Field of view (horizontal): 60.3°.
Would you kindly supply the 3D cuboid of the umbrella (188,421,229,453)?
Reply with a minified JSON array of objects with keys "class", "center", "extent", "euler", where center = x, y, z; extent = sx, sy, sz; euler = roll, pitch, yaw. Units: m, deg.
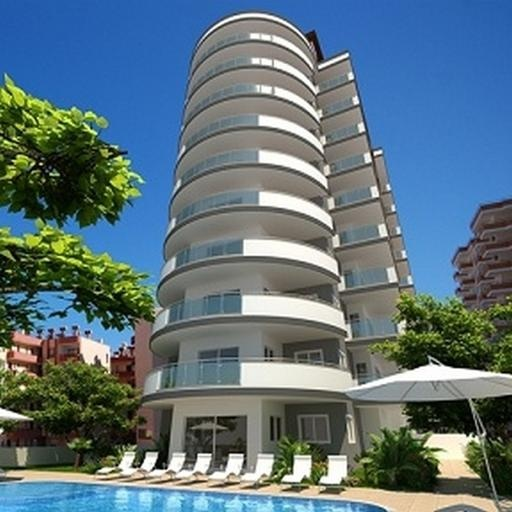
[{"class":"umbrella","center":[-2.352,9.098,22.483],"extent":[1.959,1.428,1.487],"euler":[-1,-39,2]}]
